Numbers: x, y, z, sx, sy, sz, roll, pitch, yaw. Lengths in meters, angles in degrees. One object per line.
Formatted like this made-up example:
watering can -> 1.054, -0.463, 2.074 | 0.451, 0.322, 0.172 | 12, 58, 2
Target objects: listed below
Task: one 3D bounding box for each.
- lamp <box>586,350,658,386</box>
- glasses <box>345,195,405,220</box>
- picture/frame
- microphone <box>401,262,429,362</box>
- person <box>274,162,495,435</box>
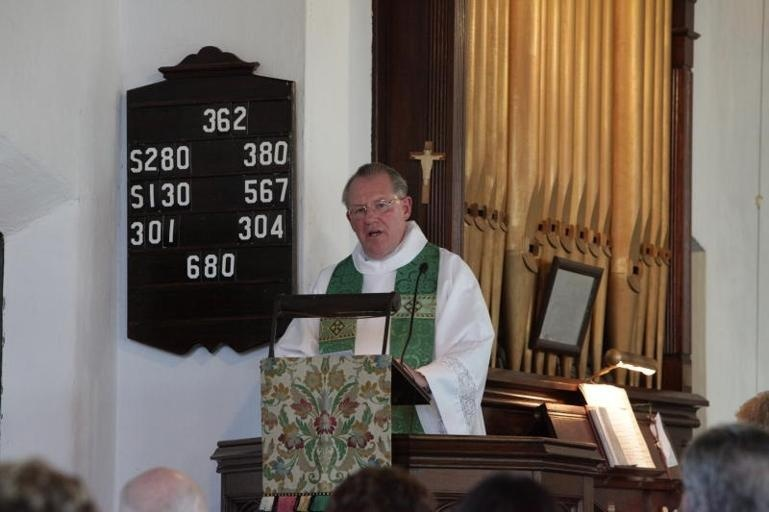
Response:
lamp -> 1.487, 0.708, 12.465 | 0.412, 0.270, 0.766 | -4, 4, 8
glasses -> -0.078, -0.267, 11.385 | 0.307, 0.120, 0.093 | -5, 4, -4
picture/frame -> 1.113, 0.349, 12.500 | 0.468, 0.631, 0.082 | 21, -9, -36
microphone -> 0.148, 0.351, 11.320 | 0.088, 0.791, 0.080 | 21, -39, -10
person -> -0.074, 0.296, 11.255 | 0.953, 2.027, 0.841 | -14, -30, 27
